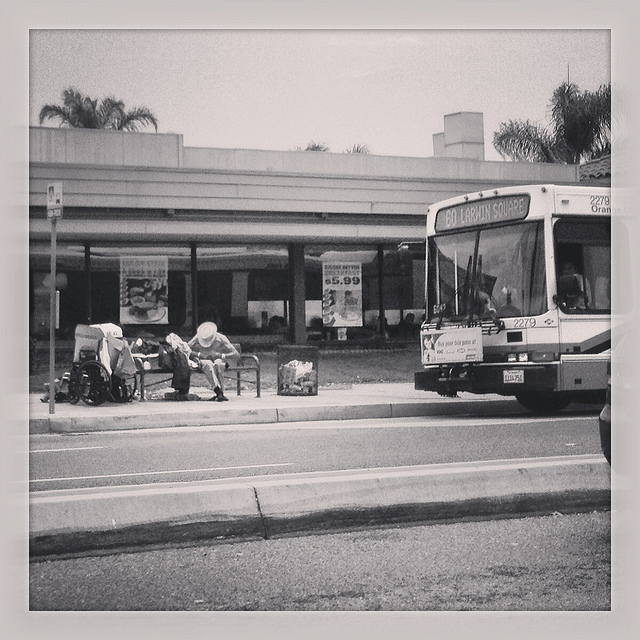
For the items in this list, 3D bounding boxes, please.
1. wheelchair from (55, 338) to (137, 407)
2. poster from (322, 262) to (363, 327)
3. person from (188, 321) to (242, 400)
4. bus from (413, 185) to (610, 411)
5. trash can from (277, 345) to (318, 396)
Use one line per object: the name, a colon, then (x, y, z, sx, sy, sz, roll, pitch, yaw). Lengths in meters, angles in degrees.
wheelchair: (-3.148, 0.690, 15.132, 1.028, 1.112, 0.727, 5, -1, 28)
poster: (0.518, -0.638, 25.579, 0.967, 1.830, 0.066, -3, -31, 5)
person: (-1.577, 0.599, 16.045, 0.565, 1.239, 0.874, -9, -5, -22)
bus: (3.392, -0.182, 15.899, 2.422, 3.035, 4.207, -7, -6, 45)
trash can: (-0.356, 0.771, 16.767, 0.549, 1.121, 0.643, 0, -3, -13)
